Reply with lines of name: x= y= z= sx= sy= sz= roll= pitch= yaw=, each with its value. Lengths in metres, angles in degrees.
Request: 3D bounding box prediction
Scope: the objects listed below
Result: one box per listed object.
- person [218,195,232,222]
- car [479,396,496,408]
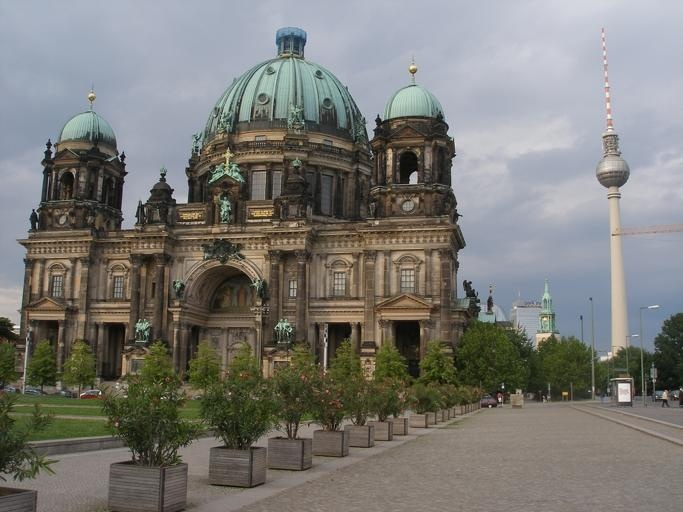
person: x=-11.528 y=-4.549 z=89.748 sx=1.281 sy=3.226 sz=1.207 roll=-5 pitch=-12 yaw=16
car: x=15.697 y=15.592 z=97.269 sx=1.133 sy=0.877 sz=1.863 roll=0 pitch=-1 yaw=15
